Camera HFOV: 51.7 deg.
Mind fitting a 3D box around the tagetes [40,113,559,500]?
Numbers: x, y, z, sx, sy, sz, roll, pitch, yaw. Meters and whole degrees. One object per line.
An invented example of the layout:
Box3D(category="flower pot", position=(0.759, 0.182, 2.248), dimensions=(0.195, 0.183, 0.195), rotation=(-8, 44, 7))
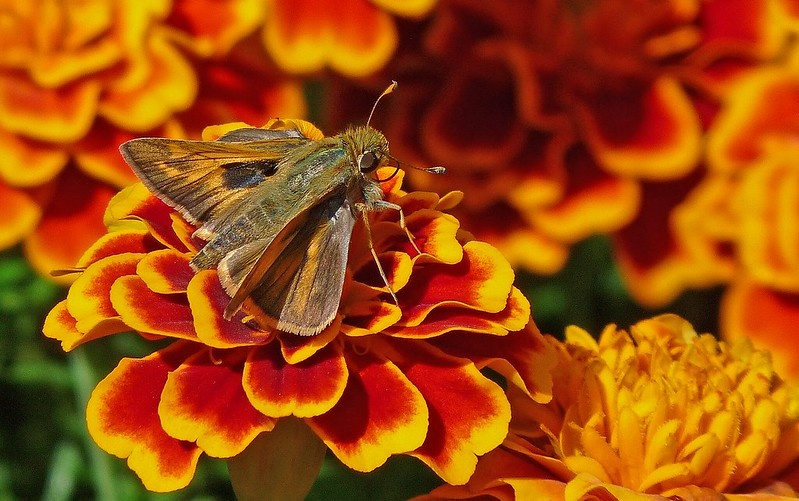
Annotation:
Box3D(category="tagetes", position=(-0.136, 0.094, 1.145), dimensions=(0.688, 0.186, 0.480), rotation=(0, 68, -11))
